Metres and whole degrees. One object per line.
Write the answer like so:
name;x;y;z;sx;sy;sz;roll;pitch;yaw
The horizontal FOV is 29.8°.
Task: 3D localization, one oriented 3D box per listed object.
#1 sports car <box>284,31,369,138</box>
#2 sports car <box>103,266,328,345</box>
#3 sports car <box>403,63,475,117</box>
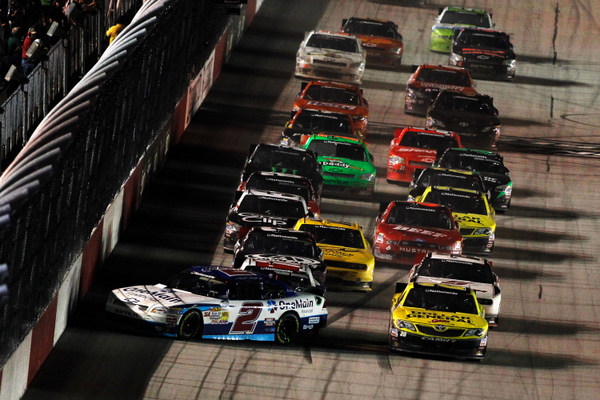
sports car;0.979;-3.940;37.041;2.292;1.738;5.845;8;25;-4
sports car;-1.674;2.350;23.615;4.362;1.308;1.372;-5;32;-26
sports car;4.911;-3.960;38.824;2.681;1.291;3.784;11;19;7
